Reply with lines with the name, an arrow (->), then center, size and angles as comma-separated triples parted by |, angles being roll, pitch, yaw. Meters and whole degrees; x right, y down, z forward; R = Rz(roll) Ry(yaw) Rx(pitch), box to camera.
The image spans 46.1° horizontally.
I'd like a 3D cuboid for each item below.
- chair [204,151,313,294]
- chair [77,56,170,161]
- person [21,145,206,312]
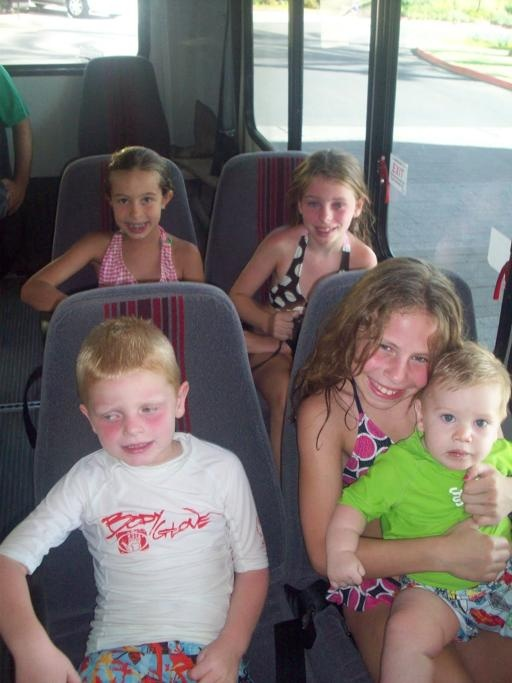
chair -> 0.028, -0.477, 2.439 | 0.431, 0.601, 0.494 | 2, 11, -16
chair -> -1.127, -1.945, 4.867 | 0.650, 0.937, 0.774 | -6, 45, -14
person -> -0.468, -0.434, 2.422 | 0.622, 0.786, 0.666 | -5, 25, -12
